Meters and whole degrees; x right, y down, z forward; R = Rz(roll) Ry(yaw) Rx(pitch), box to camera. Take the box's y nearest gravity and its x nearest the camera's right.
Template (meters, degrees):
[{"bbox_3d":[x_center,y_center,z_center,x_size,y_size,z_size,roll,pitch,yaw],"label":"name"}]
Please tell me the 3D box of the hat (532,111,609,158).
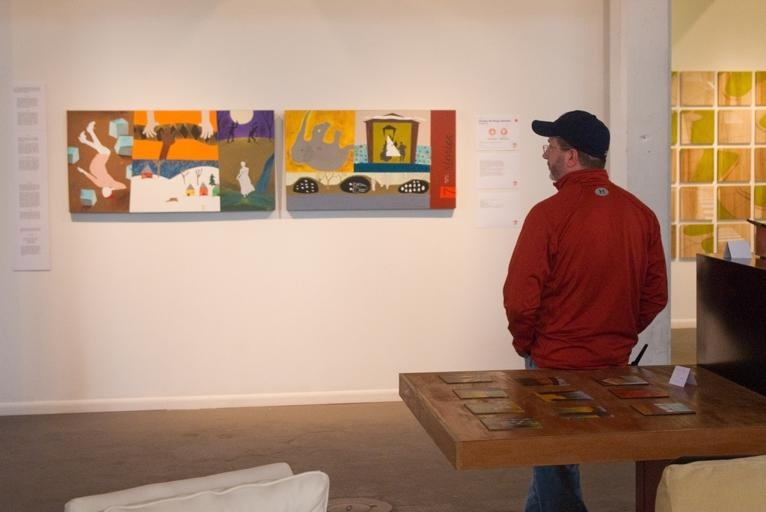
[{"bbox_3d":[1.113,-0.713,3.612,0.401,0.187,0.267,18,15,8],"label":"hat"}]
